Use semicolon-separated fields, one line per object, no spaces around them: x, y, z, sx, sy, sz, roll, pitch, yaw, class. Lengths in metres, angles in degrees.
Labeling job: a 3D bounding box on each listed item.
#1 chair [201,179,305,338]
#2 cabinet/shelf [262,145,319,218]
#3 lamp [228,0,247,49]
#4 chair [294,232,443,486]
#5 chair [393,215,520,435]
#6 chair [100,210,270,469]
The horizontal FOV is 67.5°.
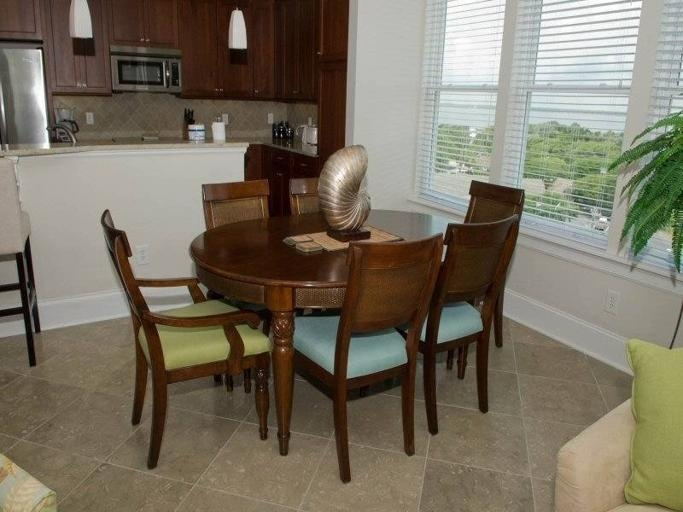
-0.687;0.061;3.473;0.595;0.911;0.664;-17;39;-25;chair
-0.643;-0.759;6.146;0.345;0.919;0.923;22;3;-32;cabinet/shelf
-0.895;-1.954;4.393;0.140;0.310;0.312;-3;19;-12;lamp
0.102;0.437;2.671;0.566;1.227;0.596;-13;24;-36;chair
0.607;0.329;3.101;0.806;1.256;0.748;12;19;37;chair
-0.829;0.384;2.816;0.855;1.318;0.871;-1;15;-11;chair
